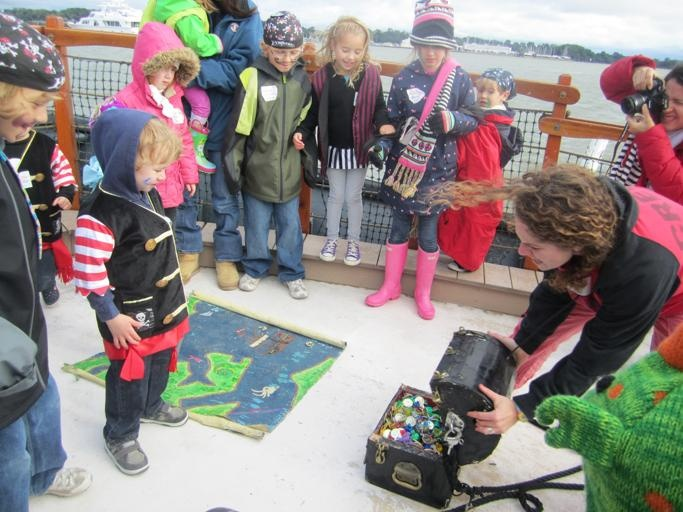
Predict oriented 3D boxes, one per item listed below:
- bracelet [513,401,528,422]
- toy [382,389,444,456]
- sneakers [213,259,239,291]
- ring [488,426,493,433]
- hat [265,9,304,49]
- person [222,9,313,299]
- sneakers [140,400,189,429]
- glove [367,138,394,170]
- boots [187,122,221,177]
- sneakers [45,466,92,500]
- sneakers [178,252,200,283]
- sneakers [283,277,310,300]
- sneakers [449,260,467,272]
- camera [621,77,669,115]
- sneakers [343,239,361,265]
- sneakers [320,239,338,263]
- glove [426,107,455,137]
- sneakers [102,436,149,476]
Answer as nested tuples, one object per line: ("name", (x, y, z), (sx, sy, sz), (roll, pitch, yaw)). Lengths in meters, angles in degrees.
("bracelet", (0.856, 0.742, 2.306), (0.033, 0.083, 0.113), (-25, 0, 8))
("toy", (0.396, 0.899, 2.609), (0.252, 0.089, 0.246), (4, 29, 14))
("sneakers", (-0.930, 0.165, 3.988), (0.116, 0.129, 0.324), (-5, 18, -16))
("ring", (0.694, 0.809, 2.258), (0.025, 0.019, 0.013), (4, 39, 12))
("hat", (-0.405, -1.686, 3.523), (0.334, 0.217, 0.342), (4, 42, 2))
("person", (-0.534, -0.751, 3.798), (0.725, 2.135, 0.488), (6, 22, -4))
("sneakers", (-0.991, 0.916, 2.815), (0.302, 0.129, 0.114), (2, 31, -10))
("glove", (0.274, -0.770, 3.598), (0.117, 0.137, 0.320), (31, 62, -18))
("boots", (-1.095, -0.848, 3.784), (0.350, 0.259, 0.135), (38, 42, 1))
("sneakers", (-1.338, 1.125, 2.402), (0.252, 0.115, 0.102), (-10, 68, -10))
("sneakers", (-1.240, 0.083, 3.929), (0.095, 0.179, 0.260), (8, 42, 11))
("sneakers", (-0.353, 0.261, 3.983), (0.100, 0.106, 0.266), (-10, 23, -19))
("sneakers", (0.969, 0.085, 4.066), (0.156, 0.066, 0.068), (14, 15, -13))
("camera", (1.807, -0.962, 2.891), (0.274, 0.231, 0.156), (0, 22, -17))
("sneakers", (0.097, -0.023, 4.061), (0.090, 0.103, 0.263), (1, 23, -1))
("sneakers", (-0.114, -0.039, 4.080), (0.087, 0.093, 0.233), (13, 22, -6))
("glove", (0.697, -0.942, 3.373), (0.146, 0.089, 0.188), (16, 40, -11))
("sneakers", (-1.125, 1.041, 2.567), (0.263, 0.112, 0.121), (33, 33, 18))
